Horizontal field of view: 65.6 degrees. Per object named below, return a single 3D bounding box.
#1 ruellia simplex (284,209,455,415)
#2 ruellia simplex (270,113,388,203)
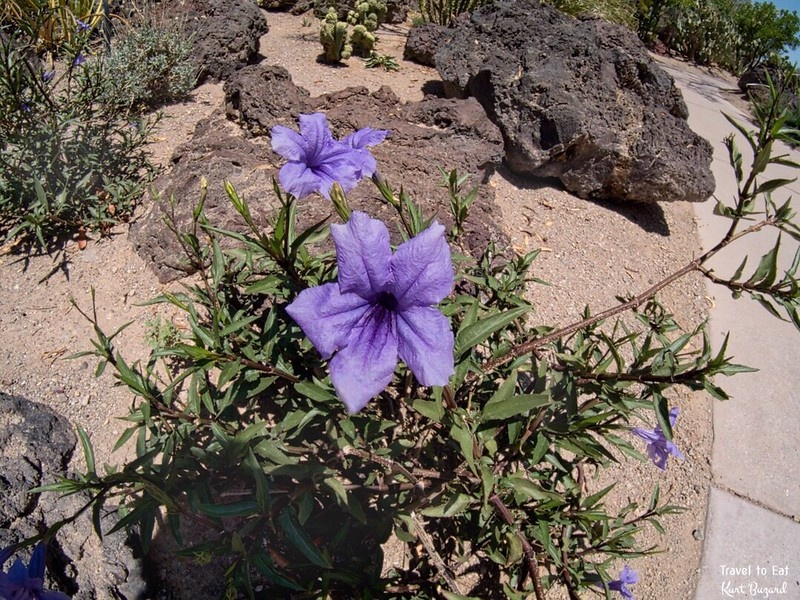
[{"bbox_3d":[-0.057,0.015,3.000,0.822,0.975,0.294,31,15,2],"label":"ruellia simplex"},{"bbox_3d":[-0.416,-0.773,3.413,0.627,0.219,0.572,-26,70,-29],"label":"ruellia simplex"}]
